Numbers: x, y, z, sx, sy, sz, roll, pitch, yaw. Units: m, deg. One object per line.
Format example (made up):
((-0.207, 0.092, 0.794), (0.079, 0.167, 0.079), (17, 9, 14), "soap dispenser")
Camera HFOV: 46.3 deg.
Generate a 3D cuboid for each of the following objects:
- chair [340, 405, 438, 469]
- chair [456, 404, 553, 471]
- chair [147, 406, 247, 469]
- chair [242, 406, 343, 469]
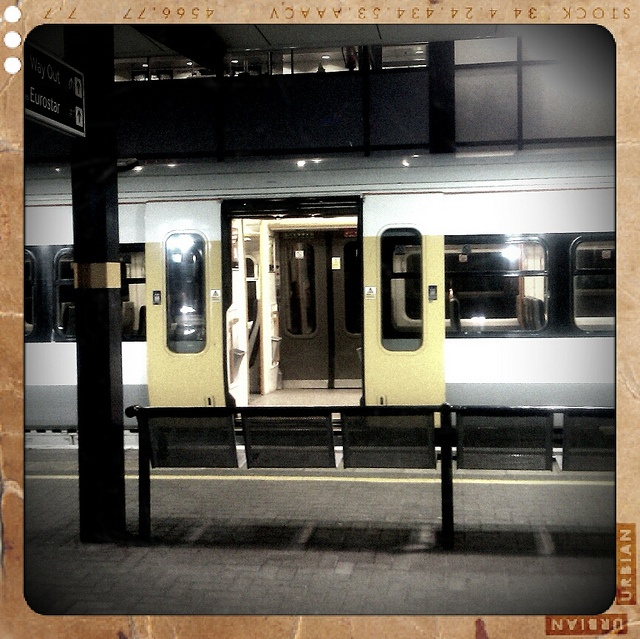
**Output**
((0.499, 0.895, 5.440), (0.669, 0.418, 0.264), (0, 2, 8), "chair")
((1.309, 0.850, 5.276), (0.668, 0.489, 0.334), (0, 2, 12), "chair")
((-0.941, 0.885, 5.499), (0.668, 0.464, 0.500), (2, -2, -4), "chair")
((-0.225, 0.866, 5.517), (0.488, 0.422, 0.299), (0, 7, 7), "chair")
